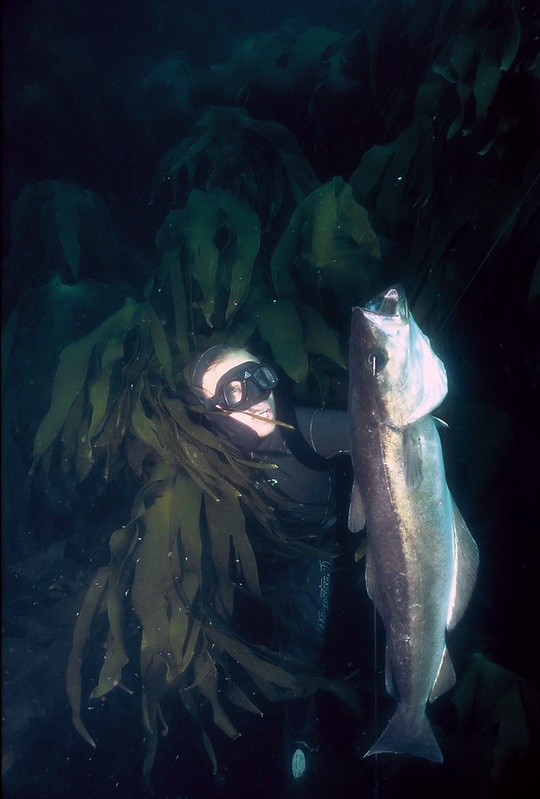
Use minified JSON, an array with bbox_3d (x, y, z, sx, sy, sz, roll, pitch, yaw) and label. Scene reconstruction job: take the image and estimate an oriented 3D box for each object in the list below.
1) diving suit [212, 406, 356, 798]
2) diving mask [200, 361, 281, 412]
[{"bbox_3d":[0.077,0.365,1.598,0.246,0.608,0.599,-7,-6,21],"label":"diving suit"},{"bbox_3d":[-0.048,-0.021,1.625,0.097,0.051,0.133,-24,1,-28],"label":"diving mask"}]
